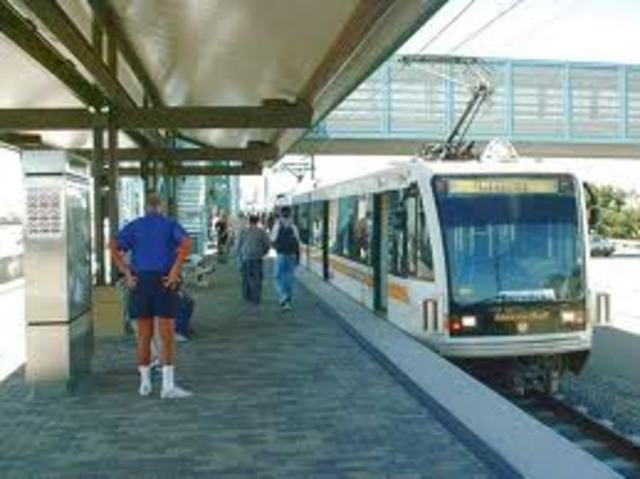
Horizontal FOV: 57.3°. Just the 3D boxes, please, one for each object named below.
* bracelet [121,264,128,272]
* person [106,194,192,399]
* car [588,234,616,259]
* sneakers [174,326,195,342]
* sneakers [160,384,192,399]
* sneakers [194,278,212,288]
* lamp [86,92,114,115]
[{"bbox_3d":[-2.230,0.325,6.715,0.077,0.059,0.078,2,-1,-27],"label":"bracelet"},{"bbox_3d":[-1.952,0.652,6.844,0.895,2.359,0.500,0,4,-10],"label":"person"},{"bbox_3d":[19.162,0.513,40.090,1.526,0.997,2.758,-1,6,-2],"label":"car"},{"bbox_3d":[-2.245,1.585,9.698,0.145,0.186,0.467,0,-5,-32],"label":"sneakers"},{"bbox_3d":[-1.659,1.766,6.809,0.294,0.118,0.143,1,-2,-15],"label":"sneakers"},{"bbox_3d":[-3.298,1.225,16.491,0.534,0.231,0.196,-1,6,-15],"label":"sneakers"},{"bbox_3d":[-3.478,-2.153,9.282,0.296,0.179,0.266,7,-24,-35],"label":"lamp"}]
